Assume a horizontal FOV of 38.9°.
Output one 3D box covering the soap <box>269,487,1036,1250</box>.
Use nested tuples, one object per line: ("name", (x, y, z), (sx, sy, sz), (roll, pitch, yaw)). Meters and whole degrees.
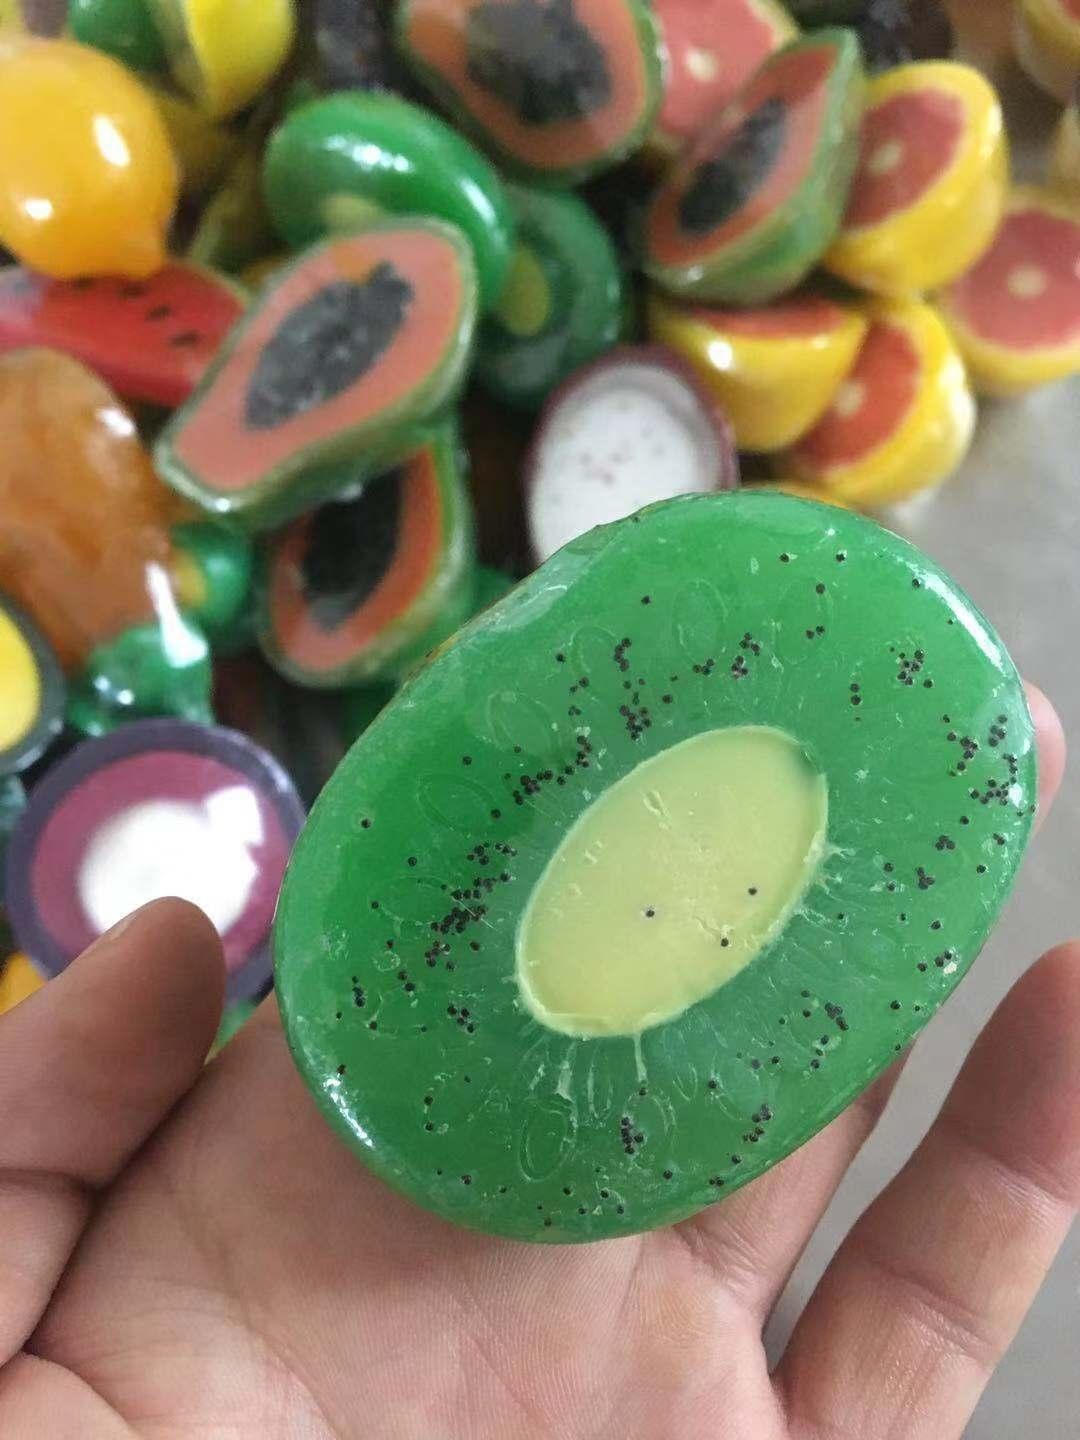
("soap", (0.033, 0.079, 0.818), (0.490, 0.336, 0.142), (-33, 17, -33))
